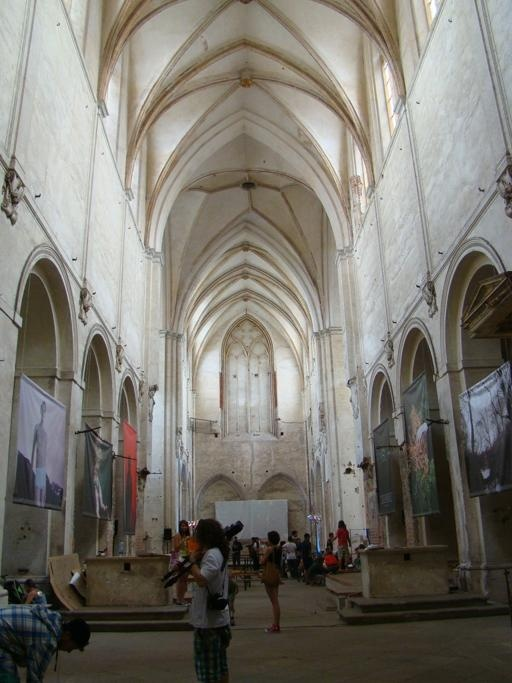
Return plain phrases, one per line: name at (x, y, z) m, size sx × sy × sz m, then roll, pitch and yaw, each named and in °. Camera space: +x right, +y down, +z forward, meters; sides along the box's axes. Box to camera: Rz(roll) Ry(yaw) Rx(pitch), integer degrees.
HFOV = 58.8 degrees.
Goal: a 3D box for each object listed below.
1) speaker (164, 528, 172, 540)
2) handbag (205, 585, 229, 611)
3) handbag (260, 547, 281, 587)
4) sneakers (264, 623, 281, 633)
speaker at (-4.010, 8.753, 20.695) m, size 0.318 × 0.645 × 0.378 m, roll 0°, pitch -3°, yaw 6°
handbag at (-0.175, 1.169, 2.073) m, size 0.088 × 0.118 × 0.064 m, roll -8°, pitch -12°, yaw 24°
handbag at (0.205, 2.928, 5.871) m, size 0.265 × 0.467 × 0.292 m, roll 0°, pitch -18°, yaw -8°
sneakers at (0.204, 3.565, 5.633) m, size 0.193 × 0.095 × 0.341 m, roll -3°, pitch -21°, yaw 0°
